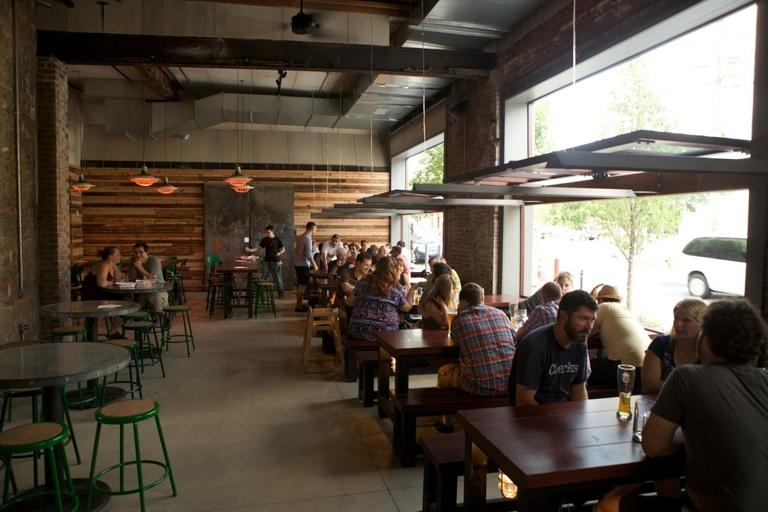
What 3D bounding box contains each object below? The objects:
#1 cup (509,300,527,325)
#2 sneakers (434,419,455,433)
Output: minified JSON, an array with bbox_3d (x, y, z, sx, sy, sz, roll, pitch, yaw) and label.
[{"bbox_3d":[1.564,0.666,6.831,0.246,0.365,0.245,0,3,0],"label":"cup"},{"bbox_3d":[0.630,1.762,6.080,0.088,0.087,0.235,1,3,-17],"label":"sneakers"}]
